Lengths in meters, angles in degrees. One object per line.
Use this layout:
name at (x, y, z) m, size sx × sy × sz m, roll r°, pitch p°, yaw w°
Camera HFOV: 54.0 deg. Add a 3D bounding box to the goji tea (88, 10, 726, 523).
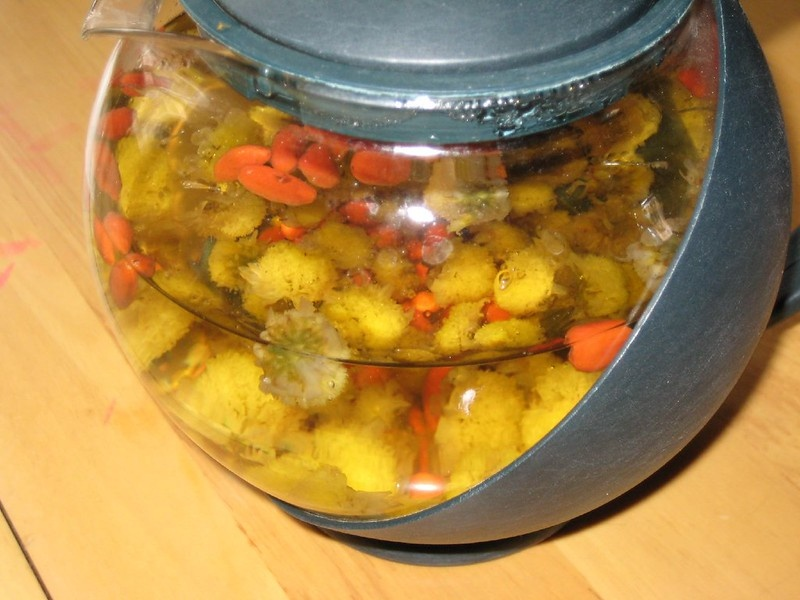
goji tea at (0.018, -0.024, 0.851) m, size 0.529 × 0.453 × 0.446 m, roll 10°, pitch -32°, yaw 7°
